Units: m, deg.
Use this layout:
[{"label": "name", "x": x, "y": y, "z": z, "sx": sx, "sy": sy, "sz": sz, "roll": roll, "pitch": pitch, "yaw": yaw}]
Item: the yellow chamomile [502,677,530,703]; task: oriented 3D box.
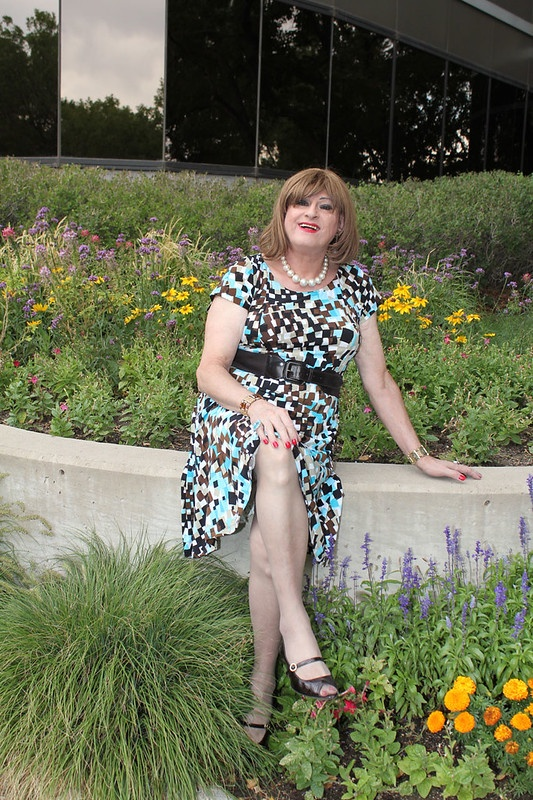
[{"label": "yellow chamomile", "x": 0.674, "y": 0.788, "z": 1.859, "sx": 0.056, "sy": 0.063, "sz": 0.086, "roll": 5, "pitch": 5, "yaw": 24}]

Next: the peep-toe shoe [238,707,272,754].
[{"label": "peep-toe shoe", "x": -0.027, "y": 0.990, "z": 2.083, "sx": 0.062, "sy": 0.170, "sz": 0.063, "roll": -8, "pitch": 13, "yaw": 28}]

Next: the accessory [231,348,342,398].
[{"label": "accessory", "x": 0.069, "y": -0.091, "z": 2.267, "sx": 0.236, "sy": 0.076, "sz": 0.179, "roll": 16, "pitch": -2, "yaw": 14}]

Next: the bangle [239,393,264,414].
[{"label": "bangle", "x": -0.053, "y": 0.011, "z": 2.019, "sx": 0.044, "sy": 0.069, "sz": 0.076, "roll": 40, "pitch": 25, "yaw": 26}]

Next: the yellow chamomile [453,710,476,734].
[{"label": "yellow chamomile", "x": 0.522, "y": 0.846, "z": 1.806, "sx": 0.065, "sy": 0.063, "sz": 0.038, "roll": 7, "pitch": -7, "yaw": 11}]

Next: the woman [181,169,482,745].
[{"label": "woman", "x": 0.181, "y": 0.116, "z": 2.153, "sx": 0.951, "sy": 1.729, "sz": 0.922, "roll": 5, "pitch": 4, "yaw": 16}]

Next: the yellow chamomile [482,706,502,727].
[{"label": "yellow chamomile", "x": 0.599, "y": 0.844, "z": 1.829, "sx": 0.054, "sy": 0.035, "sz": 0.066, "roll": -5, "pitch": -3, "yaw": 2}]

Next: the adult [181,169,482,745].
[{"label": "adult", "x": 0.172, "y": 0.090, "z": 2.160, "sx": 0.939, "sy": 1.720, "sz": 0.923, "roll": 5, "pitch": 4, "yaw": 19}]

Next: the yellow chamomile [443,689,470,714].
[{"label": "yellow chamomile", "x": 0.512, "y": 0.805, "z": 1.854, "sx": 0.081, "sy": 0.078, "sz": 0.030, "roll": -2, "pitch": -17, "yaw": 18}]
